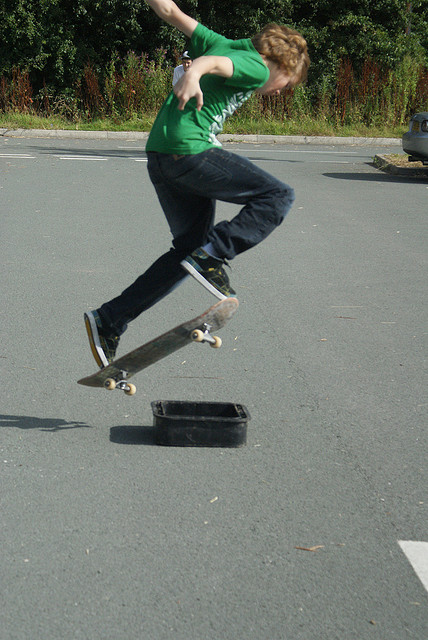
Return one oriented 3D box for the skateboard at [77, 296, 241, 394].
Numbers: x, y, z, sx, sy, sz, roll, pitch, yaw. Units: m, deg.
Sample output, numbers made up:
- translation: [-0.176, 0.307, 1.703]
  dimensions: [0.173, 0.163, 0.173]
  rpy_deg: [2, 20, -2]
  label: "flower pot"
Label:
- translation: [-0.289, 0.157, 3.423]
  dimensions: [0.792, 0.172, 0.114]
  rpy_deg: [-28, 56, 5]
  label: "skateboard"
